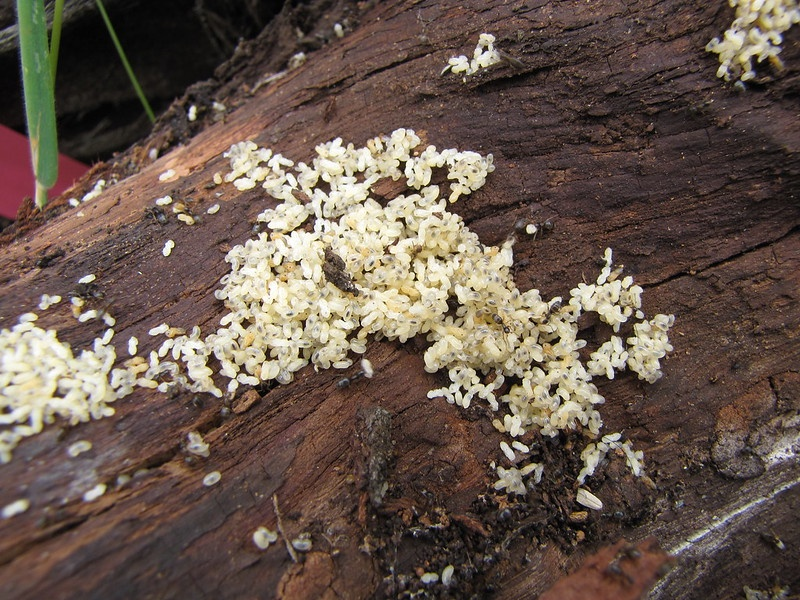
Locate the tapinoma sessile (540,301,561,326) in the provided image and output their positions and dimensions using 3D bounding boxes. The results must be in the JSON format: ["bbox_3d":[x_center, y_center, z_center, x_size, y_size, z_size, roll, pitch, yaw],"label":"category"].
[{"bbox_3d":[1.296,0.086,5.725,0.224,0.053,0.137,-49,30,2],"label":"tapinoma sessile"}]

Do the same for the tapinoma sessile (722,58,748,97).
[{"bbox_3d":[2.741,-1.838,5.482,0.243,0.262,0.075,-4,9,30],"label":"tapinoma sessile"}]

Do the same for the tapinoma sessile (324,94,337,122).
[{"bbox_3d":[-0.635,-1.743,6.084,0.125,0.215,0.049,8,-4,10],"label":"tapinoma sessile"}]

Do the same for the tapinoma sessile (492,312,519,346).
[{"bbox_3d":[0.894,0.235,5.647,0.178,0.283,0.074,-24,-5,17],"label":"tapinoma sessile"}]

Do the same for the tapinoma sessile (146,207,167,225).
[{"bbox_3d":[-2.172,-0.760,5.988,0.136,0.172,0.046,-33,-12,-18],"label":"tapinoma sessile"}]
